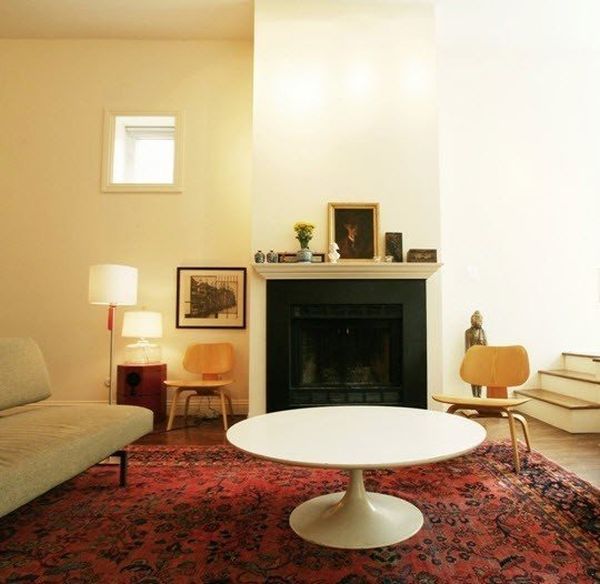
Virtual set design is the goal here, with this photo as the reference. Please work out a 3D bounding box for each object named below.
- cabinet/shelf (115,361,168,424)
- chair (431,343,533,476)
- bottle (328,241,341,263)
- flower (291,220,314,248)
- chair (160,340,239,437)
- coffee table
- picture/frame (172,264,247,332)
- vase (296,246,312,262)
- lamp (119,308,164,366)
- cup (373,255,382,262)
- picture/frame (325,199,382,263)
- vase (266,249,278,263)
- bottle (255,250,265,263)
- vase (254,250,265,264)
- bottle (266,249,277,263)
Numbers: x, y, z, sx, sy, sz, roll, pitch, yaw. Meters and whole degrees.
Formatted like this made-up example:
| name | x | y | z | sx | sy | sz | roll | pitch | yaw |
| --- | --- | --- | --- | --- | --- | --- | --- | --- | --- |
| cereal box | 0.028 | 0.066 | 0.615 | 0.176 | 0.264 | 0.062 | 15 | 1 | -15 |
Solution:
| name | x | y | z | sx | sy | sz | roll | pitch | yaw |
| --- | --- | --- | --- | --- | --- | --- | --- | --- | --- |
| cabinet/shelf | -1.422 | 0.897 | 4.657 | 0.400 | 0.523 | 0.430 | 2 | 3 | 6 |
| chair | 1.304 | 0.742 | 3.566 | 0.538 | 0.811 | 0.533 | -1 | -6 | 31 |
| bottle | 0.289 | -0.331 | 4.310 | 0.098 | 0.178 | 0.169 | 0 | 3 | 14 |
| flower | 0.029 | -0.465 | 4.298 | 0.214 | 0.271 | 0.192 | 0 | -3 | -5 |
| chair | -0.850 | 0.854 | 4.514 | 0.672 | 0.991 | 0.646 | -1 | -12 | 1 |
| coffee table | 0.286 | 0.899 | 2.521 | 1.262 | 0.492 | 0.927 | -2 | 3 | -18 |
| picture/frame | -0.886 | 0.084 | 4.954 | 0.561 | 0.591 | 0.024 | 0 | -2 | -3 |
| vase | 0.039 | -0.316 | 4.221 | 0.100 | 0.108 | 0.107 | 1 | 1 | 6 |
| lamp | -1.418 | 0.436 | 4.686 | 0.287 | 0.444 | 0.310 | 2 | -2 | -14 |
| cup | 0.669 | -0.282 | 4.345 | 0.051 | 0.045 | 0.058 | 3 | 4 | 3 |
| picture/frame | 0.465 | -0.508 | 4.372 | 0.466 | 0.599 | 0.038 | 0 | 2 | 2 |
| vase | -0.212 | -0.294 | 4.287 | 0.084 | 0.135 | 0.090 | 1 | 3 | 5 |
| bottle | -0.330 | -0.293 | 4.296 | 0.087 | 0.126 | 0.085 | 2 | 2 | 0 |
| vase | -0.327 | -0.299 | 4.292 | 0.083 | 0.122 | 0.084 | 2 | 2 | 19 |
| bottle | -0.219 | -0.307 | 4.291 | 0.080 | 0.125 | 0.085 | 1 | 2 | 0 |
